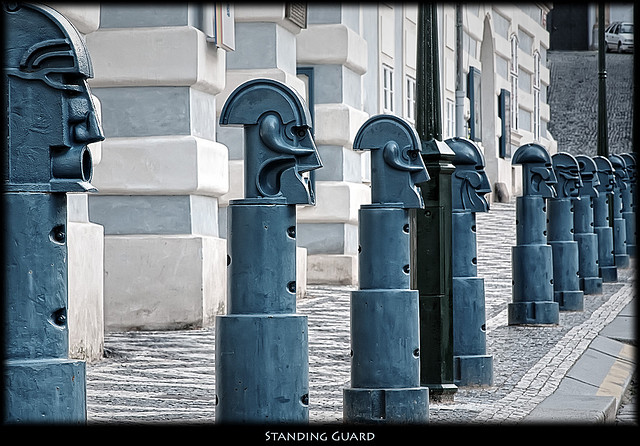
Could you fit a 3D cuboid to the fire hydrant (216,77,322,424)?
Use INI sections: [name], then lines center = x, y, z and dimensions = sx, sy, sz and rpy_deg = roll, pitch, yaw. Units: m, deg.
[fire hydrant]
center = -0.338, 0.174, 9.954
dimensions = 0.834, 2.280, 0.825
rpy_deg = 5, 12, 11
